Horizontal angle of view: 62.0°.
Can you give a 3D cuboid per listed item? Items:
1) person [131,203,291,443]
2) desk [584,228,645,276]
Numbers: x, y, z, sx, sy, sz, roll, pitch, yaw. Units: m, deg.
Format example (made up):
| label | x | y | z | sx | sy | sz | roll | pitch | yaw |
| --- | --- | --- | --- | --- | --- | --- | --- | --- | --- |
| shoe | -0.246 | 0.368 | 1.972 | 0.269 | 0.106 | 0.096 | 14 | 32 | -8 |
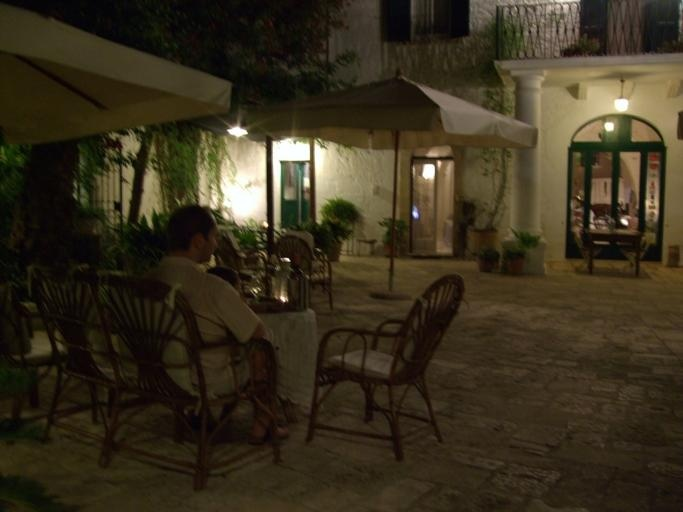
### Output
| label | x | y | z | sx | sy | sz | roll | pitch | yaw |
| --- | --- | --- | --- | --- | --- | --- | --- | --- | --- |
| person | -0.764 | 0.423 | 3.600 | 0.700 | 1.513 | 0.653 | -6 | 4 | -23 |
| desk | 5.419 | -0.258 | 11.279 | 1.008 | 0.843 | 1.193 | 2 | 3 | 19 |
